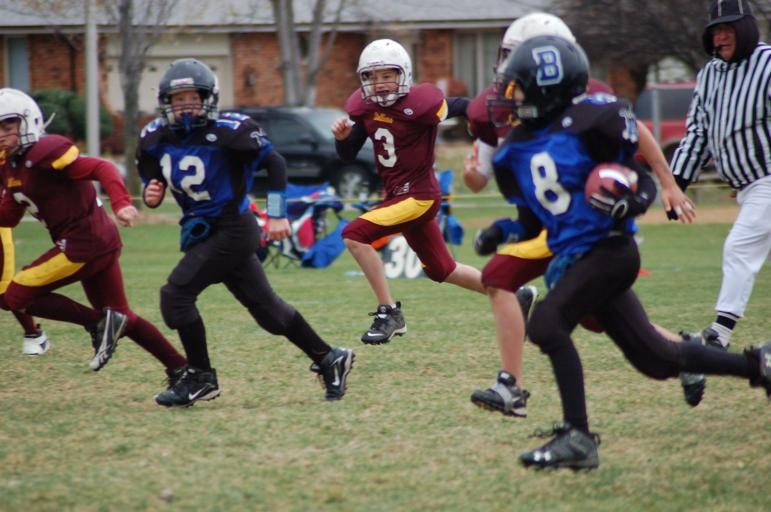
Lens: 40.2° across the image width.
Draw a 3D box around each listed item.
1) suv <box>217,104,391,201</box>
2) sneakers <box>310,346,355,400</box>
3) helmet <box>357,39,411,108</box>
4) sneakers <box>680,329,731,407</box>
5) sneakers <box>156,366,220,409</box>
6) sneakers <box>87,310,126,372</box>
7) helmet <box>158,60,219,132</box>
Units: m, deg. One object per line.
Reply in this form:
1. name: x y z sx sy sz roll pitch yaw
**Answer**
1. suv: -1.204 -1.827 17.854 3.222 1.072 1.293 -1 6 2
2. sneakers: -0.380 0.834 7.583 0.292 0.441 0.182 4 -2 -17
3. helmet: 0.034 -1.473 8.392 0.526 0.465 0.561 -7 15 18
4. sneakers: 2.176 0.793 7.217 0.287 0.485 0.193 0 8 -29
5. sneakers: -1.364 0.944 7.548 0.606 0.252 0.190 -7 9 -16
6. sneakers: -2.004 0.611 7.617 0.302 0.434 0.147 -7 12 -29
7. helmet: -1.370 -1.135 7.341 0.470 0.397 0.552 -4 9 6
